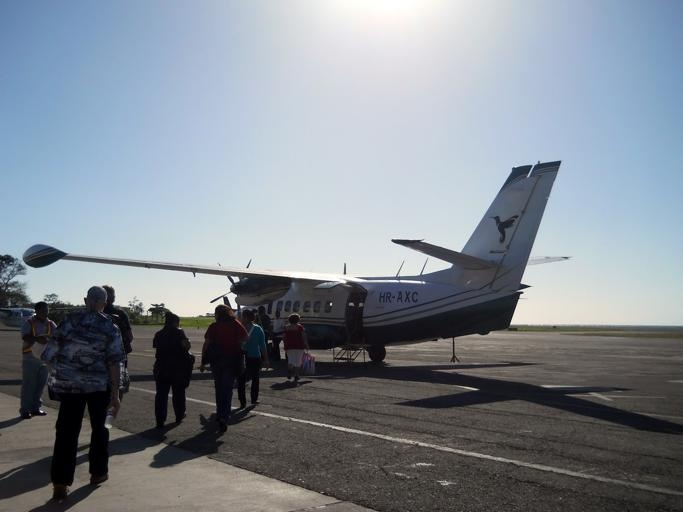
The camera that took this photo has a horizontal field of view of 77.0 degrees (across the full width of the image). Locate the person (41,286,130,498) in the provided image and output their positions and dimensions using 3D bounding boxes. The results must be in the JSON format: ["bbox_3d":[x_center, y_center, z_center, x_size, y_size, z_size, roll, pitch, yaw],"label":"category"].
[{"bbox_3d":[-3.120,1.592,5.188,0.840,2.488,0.559,6,-5,-31],"label":"person"}]

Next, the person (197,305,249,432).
[{"bbox_3d":[-2.282,2.112,8.332,0.820,2.370,1.086,4,-4,-16],"label":"person"}]

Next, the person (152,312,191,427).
[{"bbox_3d":[-3.386,2.211,8.599,0.781,2.221,0.949,5,-4,-22],"label":"person"}]
